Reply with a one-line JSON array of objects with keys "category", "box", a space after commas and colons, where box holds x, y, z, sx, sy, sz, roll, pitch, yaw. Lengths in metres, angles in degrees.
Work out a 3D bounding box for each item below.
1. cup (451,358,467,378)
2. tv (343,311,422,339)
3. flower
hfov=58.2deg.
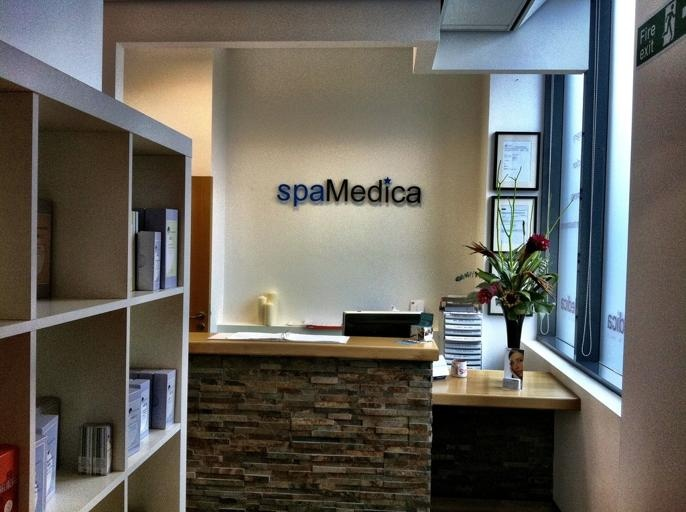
[{"category": "cup", "box": [0.847, 0.821, 4.533, 0.104, 0.109, 0.116, 2, -6, -16]}, {"category": "tv", "box": [0.266, 0.471, 4.191, 0.529, 0.176, 0.088, -2, 2, 9]}, {"category": "flower", "box": [1.264, 0.033, 4.396, 0.676, 1.051, 0.706, 5, 10, -2]}]
